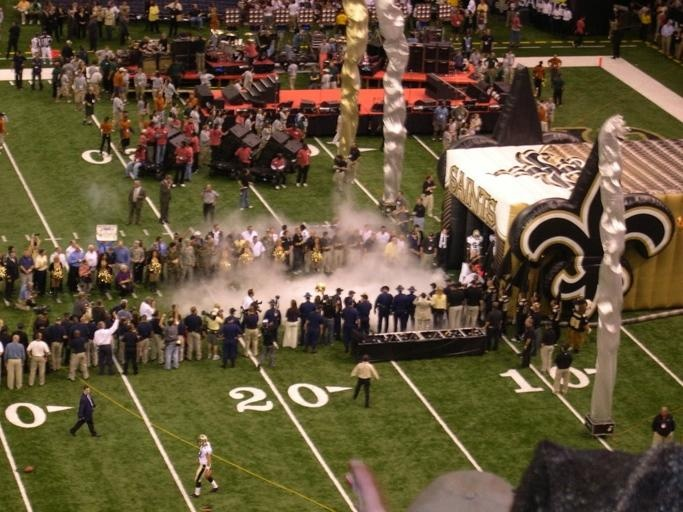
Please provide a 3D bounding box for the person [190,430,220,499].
[{"bbox_3d":[-3.415,5.380,24.989,0.971,1.741,0.670,-1,37,-10],"label":"person"}]

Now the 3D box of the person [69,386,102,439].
[{"bbox_3d":[-6.720,4.157,26.141,0.649,1.400,0.481,-5,19,-33],"label":"person"}]

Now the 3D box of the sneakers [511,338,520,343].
[{"bbox_3d":[5.706,2.734,32.027,0.224,0.151,0.074,0,23,11],"label":"sneakers"}]

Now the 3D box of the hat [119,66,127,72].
[{"bbox_3d":[-10.510,-9.033,47.782,0.508,0.233,0.705,0,15,-9],"label":"hat"}]
